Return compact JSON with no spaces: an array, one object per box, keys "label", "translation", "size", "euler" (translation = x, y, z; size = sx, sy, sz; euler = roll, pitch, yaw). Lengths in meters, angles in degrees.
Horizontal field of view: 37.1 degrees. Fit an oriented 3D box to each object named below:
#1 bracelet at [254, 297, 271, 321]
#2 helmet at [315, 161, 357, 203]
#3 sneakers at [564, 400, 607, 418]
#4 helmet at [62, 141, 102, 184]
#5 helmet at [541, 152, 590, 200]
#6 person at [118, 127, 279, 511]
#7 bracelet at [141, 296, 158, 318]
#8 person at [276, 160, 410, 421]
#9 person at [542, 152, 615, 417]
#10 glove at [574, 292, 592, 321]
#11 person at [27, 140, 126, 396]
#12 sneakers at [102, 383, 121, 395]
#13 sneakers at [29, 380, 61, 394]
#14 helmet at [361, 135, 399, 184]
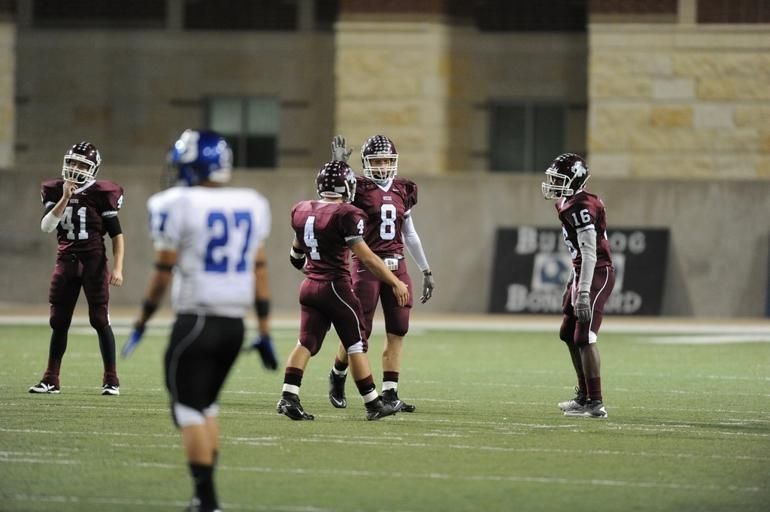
[{"label":"bracelet","translation":[-1.119,0.472,10.515],"size":[0.160,0.240,0.164],"euler":[-4,4,-42]},{"label":"helmet","translation":[-0.537,-0.834,12.681],"size":[0.354,0.374,0.453],"euler":[5,17,8]},{"label":"sneakers","translation":[2.340,1.748,13.191],"size":[0.553,0.246,0.192],"euler":[1,-3,13]},{"label":"helmet","translation":[-3.637,-1.142,13.741],"size":[0.390,0.445,0.534],"euler":[9,11,5]},{"label":"helmet","translation":[2.104,-0.939,13.479],"size":[0.575,0.502,0.444],"euler":[-2,7,3]},{"label":"person","translation":[-1.595,0.583,10.196],"size":[1.181,3.415,0.561],"euler":[0,3,-12]},{"label":"bracelet","translation":[-2.068,0.447,10.162],"size":[0.145,0.158,0.141],"euler":[11,0,-33]},{"label":"person","translation":[-0.533,0.387,12.688],"size":[1.324,2.921,0.772],"euler":[1,3,0]},{"label":"person","translation":[2.236,0.329,13.271],"size":[0.786,3.023,0.633],"euler":[1,3,9]},{"label":"glove","translation":[2.240,0.568,13.017],"size":[0.128,0.303,0.225],"euler":[-4,-22,8]},{"label":"person","translation":[-3.637,0.158,13.698],"size":[0.982,3.050,0.666],"euler":[0,3,-16]},{"label":"sneakers","translation":[-3.307,1.622,13.917],"size":[0.246,0.113,0.089],"euler":[1,-2,-3]},{"label":"sneakers","translation":[-4.054,1.581,13.749],"size":[0.391,0.180,0.143],"euler":[7,4,-15]},{"label":"helmet","translation":[-0.051,-1.147,13.579],"size":[0.404,0.529,0.546],"euler":[-2,10,-12]}]
